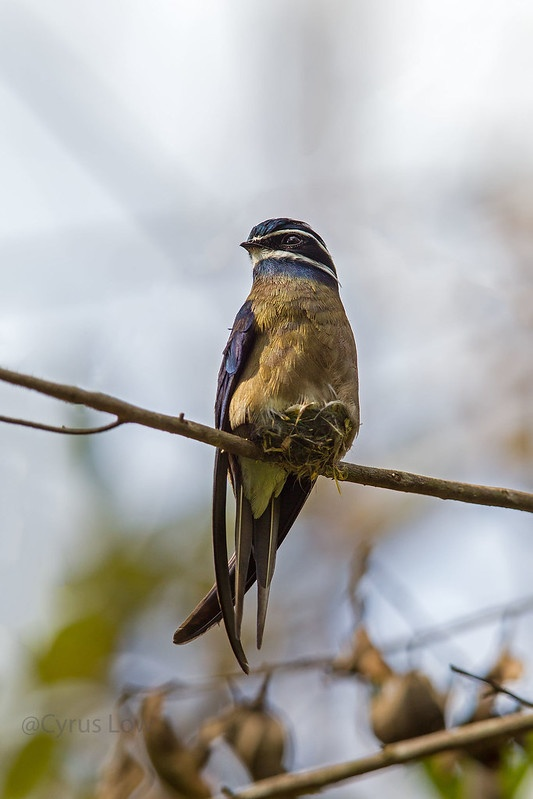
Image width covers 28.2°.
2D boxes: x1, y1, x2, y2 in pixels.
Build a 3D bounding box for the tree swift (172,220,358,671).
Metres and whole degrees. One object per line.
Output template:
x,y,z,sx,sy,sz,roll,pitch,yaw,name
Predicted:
0.031,0.197,4.222,0.684,1.582,1.727,-1,27,6,tree swift
